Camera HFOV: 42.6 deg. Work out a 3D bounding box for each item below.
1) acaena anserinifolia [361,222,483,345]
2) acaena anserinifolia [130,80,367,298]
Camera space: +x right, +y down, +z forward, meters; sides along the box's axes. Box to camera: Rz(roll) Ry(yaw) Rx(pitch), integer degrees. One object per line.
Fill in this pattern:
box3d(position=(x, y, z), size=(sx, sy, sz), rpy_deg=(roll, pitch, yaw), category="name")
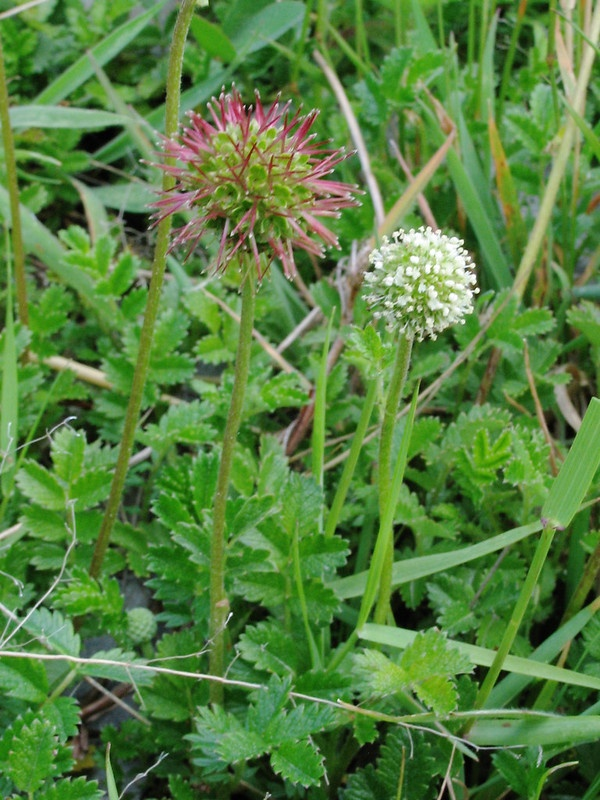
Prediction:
box3d(position=(0.149, -0.136, 0.919), size=(0.129, 0.125, 0.114), rpy_deg=(-9, 85, -7), category="acaena anserinifolia")
box3d(position=(-0.045, -0.215, 0.899), size=(0.201, 0.309, 0.190), rpy_deg=(-7, 38, 2), category="acaena anserinifolia")
